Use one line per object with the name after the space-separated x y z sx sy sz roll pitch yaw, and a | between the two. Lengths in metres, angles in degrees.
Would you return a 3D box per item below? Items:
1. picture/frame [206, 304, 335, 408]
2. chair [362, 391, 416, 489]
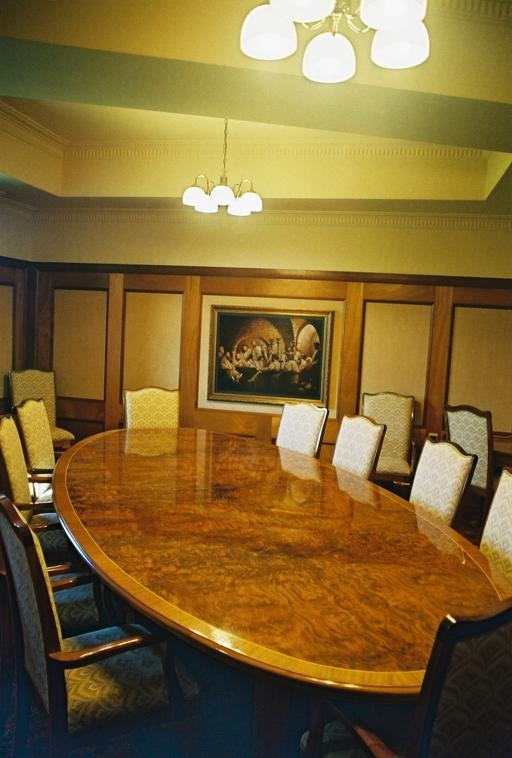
0.203 -0.240 5.034 0.850 0.740 0.065 5 7 8 | picture/frame
1.157 0.541 4.586 0.508 0.831 0.573 -1 8 -4 | chair
